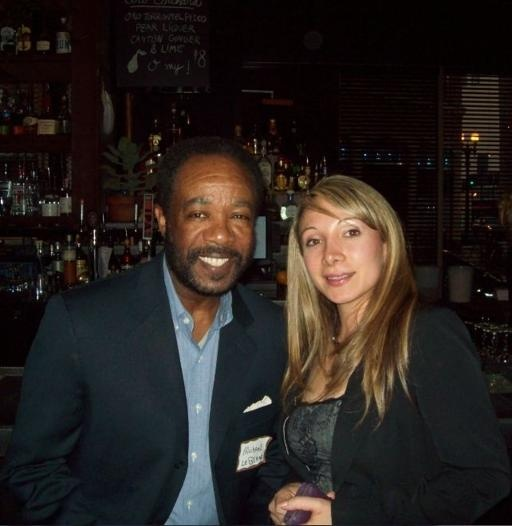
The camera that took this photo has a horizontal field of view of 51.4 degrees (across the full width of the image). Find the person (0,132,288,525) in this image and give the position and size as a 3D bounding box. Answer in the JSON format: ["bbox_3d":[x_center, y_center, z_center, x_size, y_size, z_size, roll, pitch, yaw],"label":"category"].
[{"bbox_3d":[-0.310,0.219,1.719,0.881,1.287,0.481,0,5,-8],"label":"person"}]

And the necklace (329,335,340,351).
[{"bbox_3d":[0.297,0.300,1.984,0.048,0.038,0.041,4,45,-1],"label":"necklace"}]
